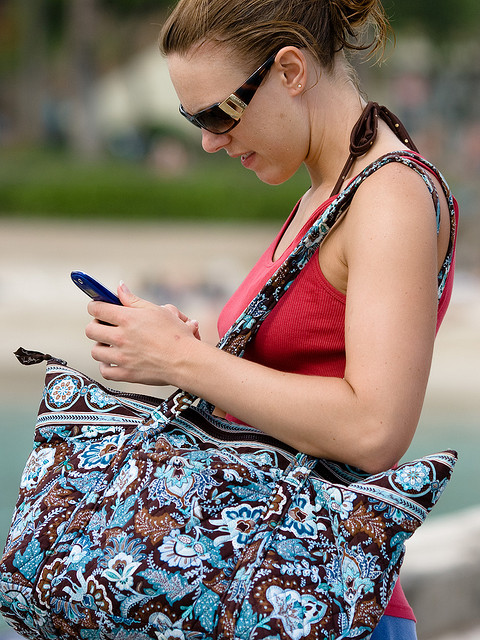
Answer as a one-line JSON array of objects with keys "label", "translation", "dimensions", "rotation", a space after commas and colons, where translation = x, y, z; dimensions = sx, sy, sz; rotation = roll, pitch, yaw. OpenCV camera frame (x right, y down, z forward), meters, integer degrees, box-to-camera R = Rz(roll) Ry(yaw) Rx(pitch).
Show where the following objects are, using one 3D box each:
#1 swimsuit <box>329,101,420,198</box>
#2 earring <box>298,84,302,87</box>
[{"label": "swimsuit", "translation": [0.252, -0.369, 2.012], "dimensions": [0.083, 0.161, 0.251], "rotation": [28, 65, 34]}, {"label": "earring", "translation": [0.122, -0.477, 1.974], "dimensions": [0.008, 0.006, 0.001], "rotation": [5, 25, 0]}]
